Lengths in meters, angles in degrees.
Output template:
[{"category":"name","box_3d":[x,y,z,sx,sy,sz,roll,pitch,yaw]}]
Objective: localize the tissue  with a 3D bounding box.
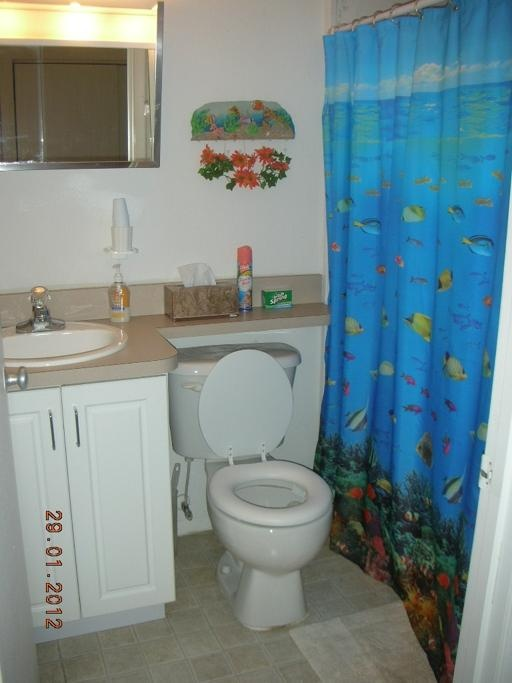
[{"category":"tissue ","box_3d":[-0.182,-0.177,1.926,0.277,0.183,0.186,-4,12,-18]}]

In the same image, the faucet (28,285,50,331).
[{"category":"faucet","box_3d":[-0.644,-0.096,1.641,0.055,0.130,0.086,-5,12,-22]}]

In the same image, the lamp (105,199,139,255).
[{"category":"lamp","box_3d":[-0.441,-0.370,1.796,0.089,0.184,0.144,-3,11,-12]}]

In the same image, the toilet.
[{"category":"toilet","box_3d":[-0.022,0.443,1.693,0.461,0.795,0.504,-2,11,-10]}]

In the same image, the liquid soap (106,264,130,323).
[{"category":"liquid soap","box_3d":[-0.451,-0.158,1.822,0.067,0.193,0.078,-10,15,-40]}]
